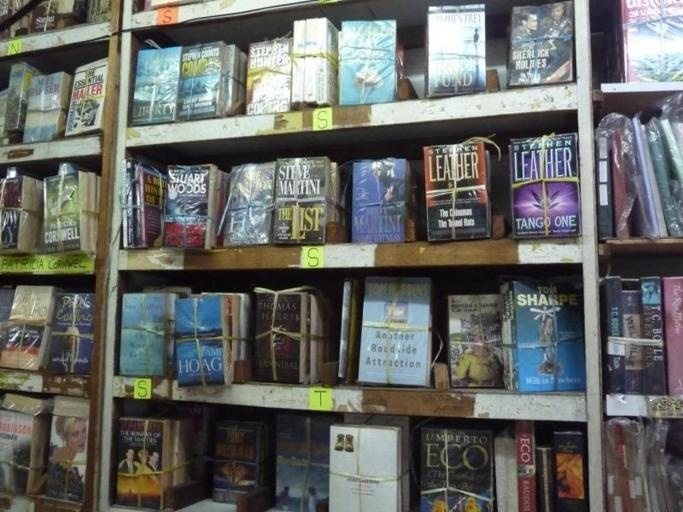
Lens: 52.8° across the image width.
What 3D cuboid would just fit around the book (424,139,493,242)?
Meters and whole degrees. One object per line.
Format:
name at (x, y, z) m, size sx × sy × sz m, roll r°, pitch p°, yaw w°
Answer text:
book at (0.522, -0.252, 3.100) m, size 0.313 × 0.622 × 0.432 m, roll 0°, pitch -2°, yaw 10°

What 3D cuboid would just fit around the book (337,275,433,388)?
book at (0.231, 0.343, 3.029) m, size 0.375 × 0.601 × 0.395 m, roll 1°, pitch -11°, yaw 12°

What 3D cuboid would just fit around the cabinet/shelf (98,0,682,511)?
cabinet/shelf at (0.233, 0.037, 2.915) m, size 1.889 × 1.922 × 0.651 m, roll -3°, pitch -13°, yaw 17°

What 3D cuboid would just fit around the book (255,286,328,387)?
book at (-0.137, 0.374, 3.183) m, size 0.349 × 0.535 × 0.375 m, roll -2°, pitch -5°, yaw 17°

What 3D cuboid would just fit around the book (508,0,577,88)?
book at (0.831, -0.854, 2.822) m, size 0.333 × 0.489 × 0.054 m, roll 1°, pitch -6°, yaw 18°
